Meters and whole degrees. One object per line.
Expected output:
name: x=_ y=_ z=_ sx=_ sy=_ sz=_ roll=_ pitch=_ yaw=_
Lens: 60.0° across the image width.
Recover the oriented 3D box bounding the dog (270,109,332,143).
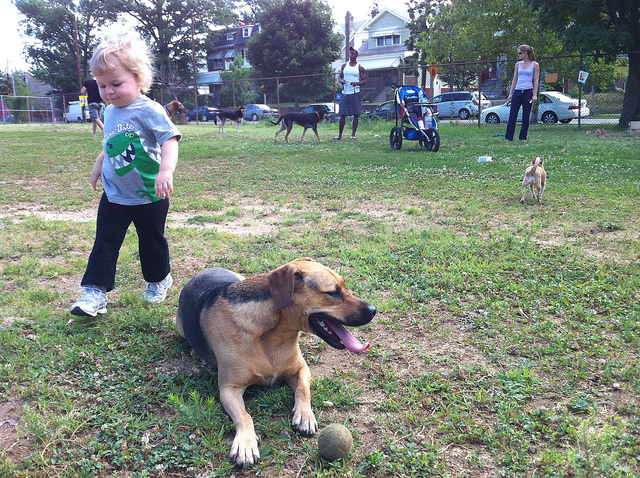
dog: x=-0.596 y=-3.570 z=17.343 sx=1.374 sy=0.898 sz=2.982 roll=0 pitch=13 yaw=-2

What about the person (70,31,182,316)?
person: x=-1.630 y=-0.535 z=4.713 sx=0.865 sy=2.350 sz=0.689 roll=-3 pitch=13 yaw=-16

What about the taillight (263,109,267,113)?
taillight: x=-3.581 y=-8.312 z=35.844 sx=0.192 sy=0.187 sz=0.199 roll=0 pitch=4 yaw=0

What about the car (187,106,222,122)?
car: x=-7.738 y=-8.177 z=36.064 sx=2.698 sy=0.989 sz=1.267 roll=7 pitch=14 yaw=23

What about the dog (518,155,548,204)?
dog: x=3.097 y=-0.867 z=7.952 sx=0.299 sy=0.639 sz=1.124 roll=6 pitch=9 yaw=26

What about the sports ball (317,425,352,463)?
sports ball: x=0.101 y=1.297 z=3.606 sx=0.208 sy=0.202 sz=0.209 roll=-34 pitch=25 yaw=18

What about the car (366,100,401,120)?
car: x=2.821 y=-5.972 z=25.438 sx=1.122 sy=0.839 sz=5.171 roll=2 pitch=13 yaw=5

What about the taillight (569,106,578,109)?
taillight: x=10.102 y=-5.251 z=21.946 sx=0.309 sy=0.086 sz=0.320 roll=-4 pitch=5 yaw=-12

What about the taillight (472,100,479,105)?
taillight: x=7.602 y=-6.695 z=27.039 sx=0.208 sy=0.160 sz=0.335 roll=10 pitch=12 yaw=16

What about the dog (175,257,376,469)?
dog: x=-0.664 y=0.584 z=4.305 sx=1.109 sy=1.100 sz=2.160 roll=-2 pitch=13 yaw=-37

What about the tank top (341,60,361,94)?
tank top: x=0.881 y=-4.396 z=14.970 sx=0.627 sy=0.880 sz=0.379 roll=9 pitch=15 yaw=35
